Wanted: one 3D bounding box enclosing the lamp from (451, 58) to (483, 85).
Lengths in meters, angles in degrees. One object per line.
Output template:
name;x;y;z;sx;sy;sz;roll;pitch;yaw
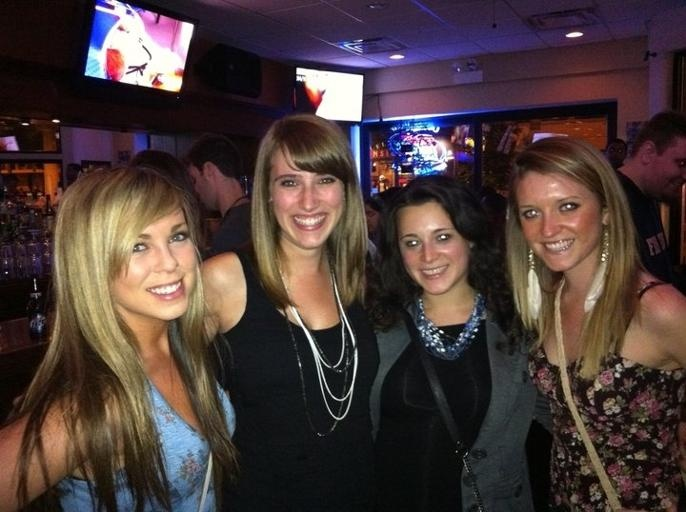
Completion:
lamp;2.086;-3.072;8.498;0.491;0.379;0.425;1;10;11

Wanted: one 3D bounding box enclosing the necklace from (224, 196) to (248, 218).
necklace;-0.843;-0.397;4.089;0.161;0.052;0.214;-12;-20;-49

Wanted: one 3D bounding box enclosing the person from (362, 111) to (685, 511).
person;0.597;0.347;2.541;0.917;1.804;0.809;-1;10;1
